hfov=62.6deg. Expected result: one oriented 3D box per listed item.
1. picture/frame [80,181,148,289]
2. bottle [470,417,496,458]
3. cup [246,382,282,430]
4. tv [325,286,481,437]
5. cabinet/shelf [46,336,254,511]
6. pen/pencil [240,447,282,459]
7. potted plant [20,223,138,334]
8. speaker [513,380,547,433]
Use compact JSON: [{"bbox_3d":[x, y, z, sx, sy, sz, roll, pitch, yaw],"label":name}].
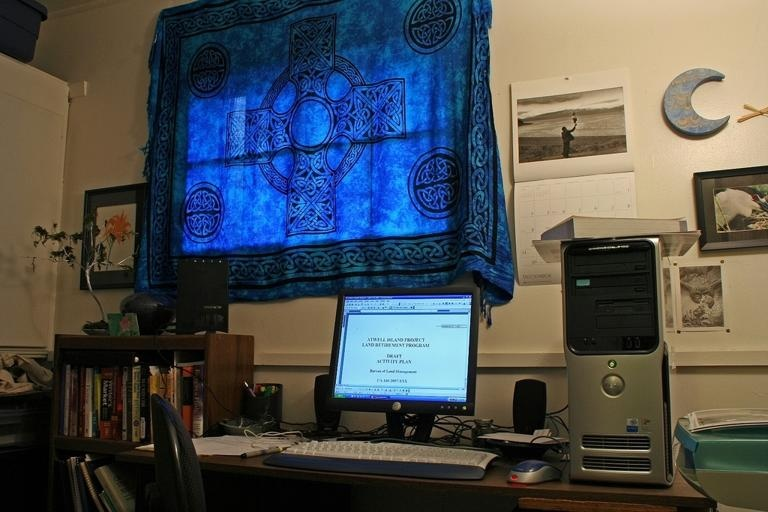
[{"bbox_3d":[-1.547,-0.097,3.655,0.598,0.831,0.034,-2,-8,22],"label":"picture/frame"},{"bbox_3d":[0.419,0.781,2.740,0.087,0.163,0.094,3,-10,0],"label":"bottle"},{"bbox_3d":[-0.569,0.727,3.046,0.175,0.204,0.232,3,-8,-28],"label":"cup"},{"bbox_3d":[0.090,0.445,2.686,0.642,0.682,0.237,-2,-20,16],"label":"tv"},{"bbox_3d":[-1.022,0.758,2.829,0.847,0.850,0.314,1,-3,8],"label":"cabinet/shelf"},{"bbox_3d":[-0.493,0.787,2.512,0.029,0.027,0.208,-2,-4,37],"label":"pen/pencil"},{"bbox_3d":[-1.715,0.057,3.744,0.658,0.665,0.567,2,-27,-41],"label":"potted plant"},{"bbox_3d":[0.637,0.655,2.754,0.125,0.222,0.112,4,-9,-35],"label":"speaker"}]
